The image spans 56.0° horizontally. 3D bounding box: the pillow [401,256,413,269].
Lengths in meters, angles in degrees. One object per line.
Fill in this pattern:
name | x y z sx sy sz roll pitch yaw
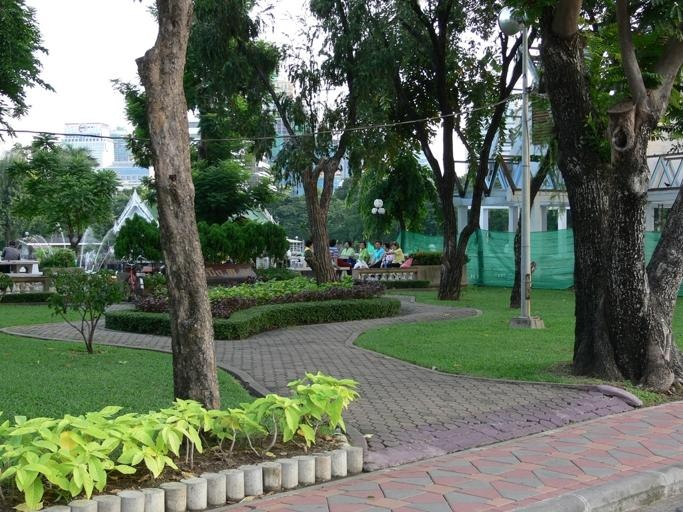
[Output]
pillow | 2.873 0.273 28.285 0.486 0.512 1.261 -1 0 11
